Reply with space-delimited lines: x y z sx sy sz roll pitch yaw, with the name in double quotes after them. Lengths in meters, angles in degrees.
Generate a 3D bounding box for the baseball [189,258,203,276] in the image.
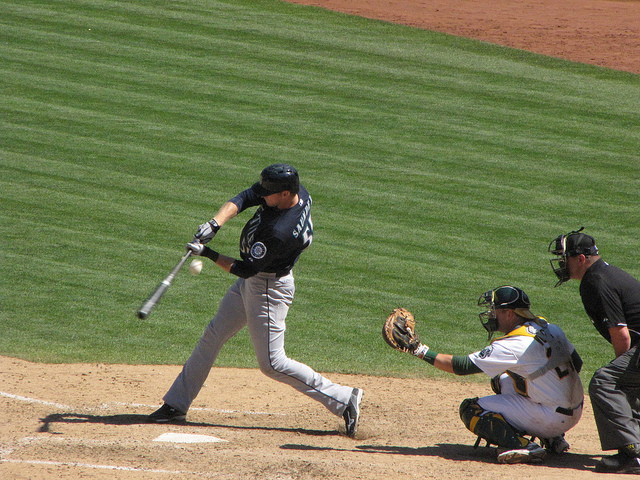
-1.584 0.349 19.075 0.224 0.133 0.213 0 -7 -2 "baseball"

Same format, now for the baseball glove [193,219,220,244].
-1.461 -0.110 19.083 0.219 0.325 0.362 20 15 19 "baseball glove"

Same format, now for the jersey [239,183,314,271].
-0.560 -0.158 19.124 0.826 0.864 1.178 23 54 -9 "jersey"

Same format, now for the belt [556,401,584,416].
3.139 2.121 18.723 0.251 0.075 0.249 6 -3 -34 "belt"
